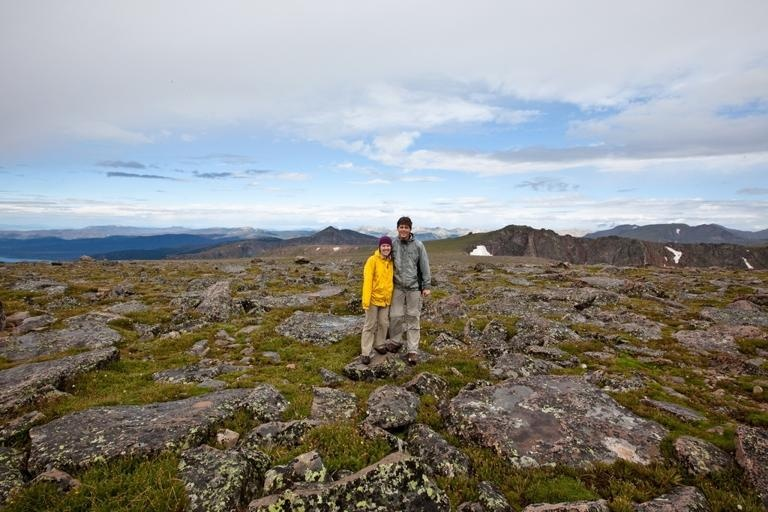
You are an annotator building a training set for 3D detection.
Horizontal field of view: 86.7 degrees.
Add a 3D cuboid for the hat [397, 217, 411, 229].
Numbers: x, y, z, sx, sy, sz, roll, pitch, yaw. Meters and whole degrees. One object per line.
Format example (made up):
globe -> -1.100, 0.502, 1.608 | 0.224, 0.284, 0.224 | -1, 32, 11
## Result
hat -> 1.227, -1.978, 24.037 | 0.706, 0.718, 0.811 | 1, 7, 13
